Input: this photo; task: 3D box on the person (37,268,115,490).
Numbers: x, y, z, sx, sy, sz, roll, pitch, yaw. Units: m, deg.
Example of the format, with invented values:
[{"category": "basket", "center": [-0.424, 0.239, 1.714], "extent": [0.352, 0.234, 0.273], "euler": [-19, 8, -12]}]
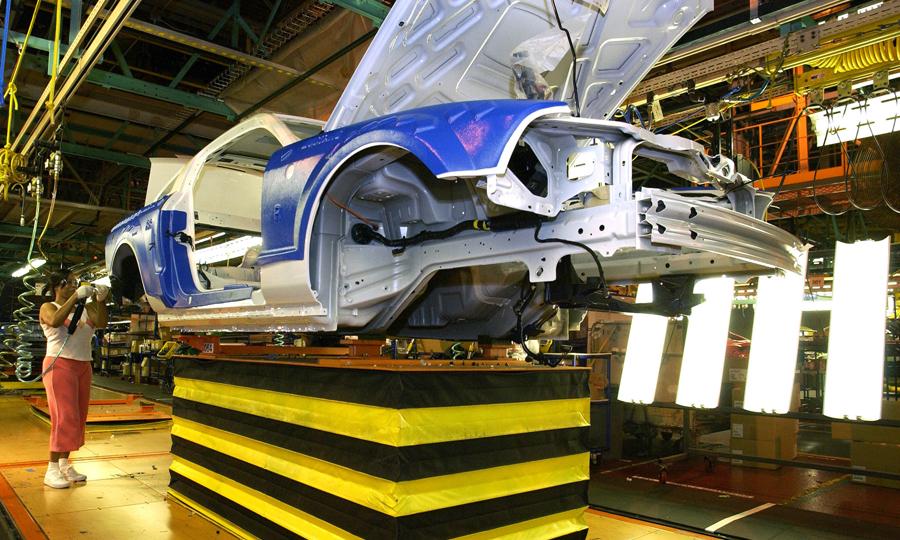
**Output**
[{"category": "person", "center": [-4.295, 1.209, 7.538], "extent": [0.693, 2.426, 0.793], "euler": [1, -5, -29]}]

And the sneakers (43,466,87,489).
[{"category": "sneakers", "center": [-4.339, 2.341, 7.431], "extent": [0.430, 0.141, 0.223], "euler": [-9, -15, 32]}]

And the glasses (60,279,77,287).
[{"category": "glasses", "center": [-4.380, 0.147, 7.616], "extent": [0.108, 0.067, 0.081], "euler": [3, 26, -2]}]

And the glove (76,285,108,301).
[{"category": "glove", "center": [-4.040, 0.252, 7.498], "extent": [0.200, 0.180, 0.432], "euler": [-1, -3, 4]}]
